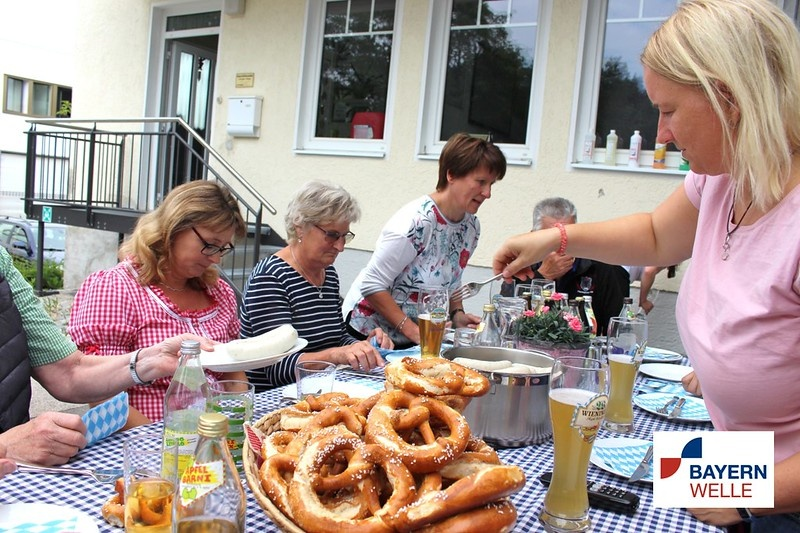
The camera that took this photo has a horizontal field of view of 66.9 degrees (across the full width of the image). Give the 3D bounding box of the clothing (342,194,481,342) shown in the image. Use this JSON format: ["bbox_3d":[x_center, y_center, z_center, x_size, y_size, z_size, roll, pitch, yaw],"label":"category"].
[{"bbox_3d":[0.171,-0.009,4.060,0.915,1.036,0.647,-3,23,-44],"label":"clothing"}]

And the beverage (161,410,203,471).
[{"bbox_3d":[-0.588,0.511,1.691,0.110,0.194,0.116,9,-15,-13],"label":"beverage"}]

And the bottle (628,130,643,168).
[{"bbox_3d":[2.214,-1.076,5.648,0.112,0.360,0.113,-1,15,0],"label":"bottle"}]

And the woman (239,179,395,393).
[{"bbox_3d":[-0.449,0.123,3.300,0.781,1.089,0.975,1,4,20],"label":"woman"}]

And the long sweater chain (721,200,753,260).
[{"bbox_3d":[1.095,-0.126,1.968,0.058,0.215,0.018,19,8,38],"label":"long sweater chain"}]

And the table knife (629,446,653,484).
[{"bbox_3d":[0.792,0.637,1.939,0.035,0.022,0.187,-2,15,40],"label":"table knife"}]

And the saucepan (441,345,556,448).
[{"bbox_3d":[0.347,0.462,2.107,0.324,0.265,0.367,3,3,2],"label":"saucepan"}]

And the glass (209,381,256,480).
[{"bbox_3d":[-0.572,0.503,1.915,0.172,0.288,0.170,6,1,-14],"label":"glass"}]

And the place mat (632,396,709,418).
[{"bbox_3d":[1.096,0.573,2.441,0.158,0.023,0.162,2,9,1],"label":"place mat"}]

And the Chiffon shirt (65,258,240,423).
[{"bbox_3d":[-1.001,0.303,2.445,0.314,0.578,0.583,-23,-3,33],"label":"Chiffon shirt"}]

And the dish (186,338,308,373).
[{"bbox_3d":[-0.574,0.334,2.272,0.257,0.038,0.262,0,4,29],"label":"dish"}]

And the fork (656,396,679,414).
[{"bbox_3d":[1.106,0.570,2.471,0.047,0.043,0.286,13,6,27],"label":"fork"}]

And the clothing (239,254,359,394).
[{"bbox_3d":[-0.542,0.244,3.362,0.819,0.668,0.492,-5,2,33],"label":"clothing"}]

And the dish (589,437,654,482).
[{"bbox_3d":[0.733,0.636,1.997,0.160,0.023,0.162,0,19,-5],"label":"dish"}]

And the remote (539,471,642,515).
[{"bbox_3d":[0.626,0.694,1.834,0.066,0.045,0.219,-16,2,-32],"label":"remote"}]

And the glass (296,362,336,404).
[{"bbox_3d":[-0.295,0.396,2.108,0.136,0.140,0.125,2,0,29],"label":"glass"}]

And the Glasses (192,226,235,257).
[{"bbox_3d":[-0.879,-0.124,2.802,0.037,0.125,0.122,-38,-11,8],"label":"Glasses"}]

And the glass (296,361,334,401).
[{"bbox_3d":[-0.308,0.389,2.128,0.124,0.141,0.137,1,2,-42],"label":"glass"}]

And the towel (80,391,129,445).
[{"bbox_3d":[-0.959,0.513,1.967,0.240,0.118,0.045,-24,-37,15],"label":"towel"}]

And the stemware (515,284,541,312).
[{"bbox_3d":[0.714,0.177,3.283,0.148,0.149,0.152,0,-2,0],"label":"stemware"}]
